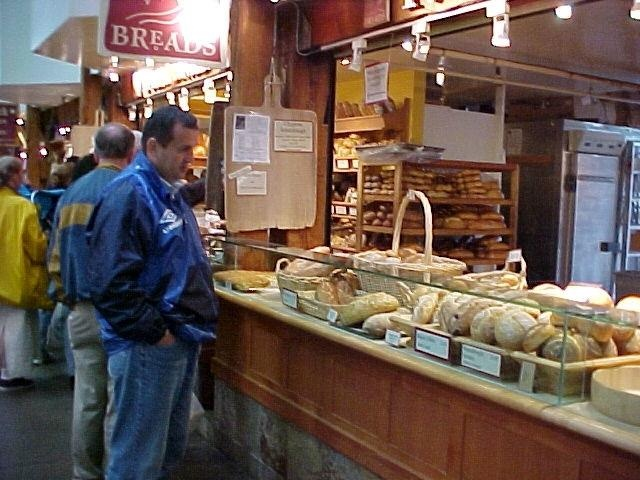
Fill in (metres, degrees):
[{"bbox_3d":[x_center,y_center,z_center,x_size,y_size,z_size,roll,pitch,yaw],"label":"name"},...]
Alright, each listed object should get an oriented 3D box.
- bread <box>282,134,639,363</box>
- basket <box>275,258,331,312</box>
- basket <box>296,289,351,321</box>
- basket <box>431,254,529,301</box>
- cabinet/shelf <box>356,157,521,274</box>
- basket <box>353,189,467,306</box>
[{"bbox_3d":[0.683,0.058,2.409,0.827,0.591,1.475,-2,9,-37],"label":"bread"},{"bbox_3d":[-0.087,0.200,3.001,0.258,0.307,0.344,15,29,18],"label":"basket"},{"bbox_3d":[-0.022,0.338,2.801,0.152,0.075,0.206,5,2,-42],"label":"basket"},{"bbox_3d":[0.789,0.193,2.406,0.283,0.133,0.410,-1,0,41],"label":"basket"},{"bbox_3d":[1.112,-0.250,5.049,1.362,1.302,0.574,0,0,-34],"label":"cabinet/shelf"},{"bbox_3d":[0.511,0.064,2.930,0.630,0.642,0.707,5,3,-19],"label":"basket"}]
